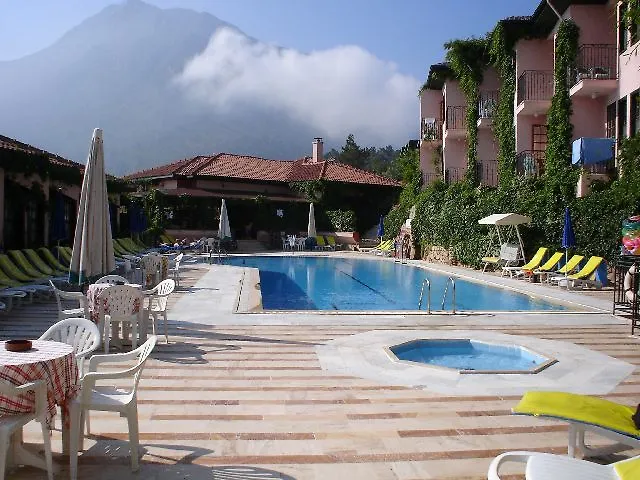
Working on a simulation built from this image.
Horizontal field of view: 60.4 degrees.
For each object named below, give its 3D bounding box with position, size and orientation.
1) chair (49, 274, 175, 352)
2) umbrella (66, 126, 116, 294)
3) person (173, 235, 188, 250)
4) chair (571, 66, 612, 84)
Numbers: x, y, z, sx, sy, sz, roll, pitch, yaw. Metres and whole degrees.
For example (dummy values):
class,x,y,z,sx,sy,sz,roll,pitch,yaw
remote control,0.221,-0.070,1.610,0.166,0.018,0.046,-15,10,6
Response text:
class,x,y,z,sx,sy,sz,roll,pitch,yaw
chair,-3.122,1.064,8.457,1.263,0.742,1.378,0,1,1
umbrella,-4.055,-0.624,9.899,0.593,2.860,0.825,2,2,13
person,-7.444,0.232,29.600,0.847,0.467,1.217,0,1,-15
chair,9.092,-5.559,18.390,1.104,0.715,1.112,3,2,23
